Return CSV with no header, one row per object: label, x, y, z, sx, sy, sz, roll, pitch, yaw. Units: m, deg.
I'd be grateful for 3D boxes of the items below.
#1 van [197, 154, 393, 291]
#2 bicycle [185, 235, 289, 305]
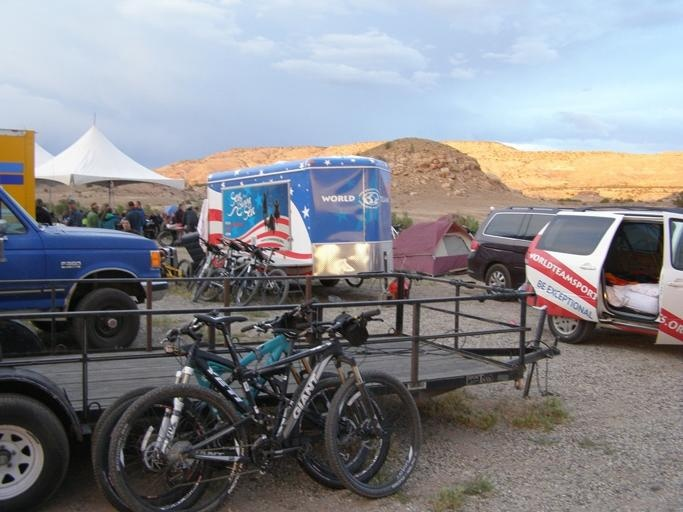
van,-0.832,-0.962,13.584,2.707,1.888,3.997,-6,9,-42
bicycle,-2.102,0.339,12.131,2.625,1.174,1.304,5,-2,27
